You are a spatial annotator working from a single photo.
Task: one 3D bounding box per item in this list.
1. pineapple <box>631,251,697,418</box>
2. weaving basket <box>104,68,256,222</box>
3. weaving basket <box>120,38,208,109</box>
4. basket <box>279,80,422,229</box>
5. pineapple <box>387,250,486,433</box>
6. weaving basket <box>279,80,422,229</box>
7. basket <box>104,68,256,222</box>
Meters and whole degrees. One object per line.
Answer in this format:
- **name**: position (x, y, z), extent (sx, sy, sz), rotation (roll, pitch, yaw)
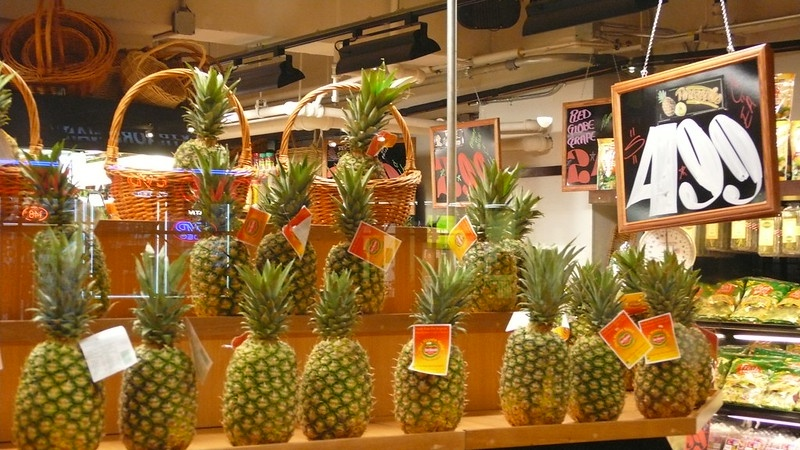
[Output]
- **pineapple**: position (1.654, 0.670, 4.240), extent (0.465, 1.106, 0.415), rotation (2, -4, 20)
- **weaving basket**: position (-1.278, -0.462, 4.009), extent (0.831, 0.926, 0.714), rotation (-6, 2, -35)
- **weaving basket**: position (-1.880, -1.251, 5.433), extent (0.658, 0.527, 0.764), rotation (6, 22, 14)
- **basket**: position (-0.246, -0.371, 4.175), extent (0.702, 0.703, 0.602), rotation (-4, 10, -7)
- **pineapple**: position (0.198, 0.652, 3.800), extent (0.385, 0.944, 0.525), rotation (1, 4, 18)
- **weaving basket**: position (-0.275, -0.422, 4.314), extent (1.055, 1.047, 0.885), rotation (0, -5, -19)
- **basket**: position (-1.266, -0.483, 3.867), extent (0.875, 0.894, 0.606), rotation (1, 4, 11)
